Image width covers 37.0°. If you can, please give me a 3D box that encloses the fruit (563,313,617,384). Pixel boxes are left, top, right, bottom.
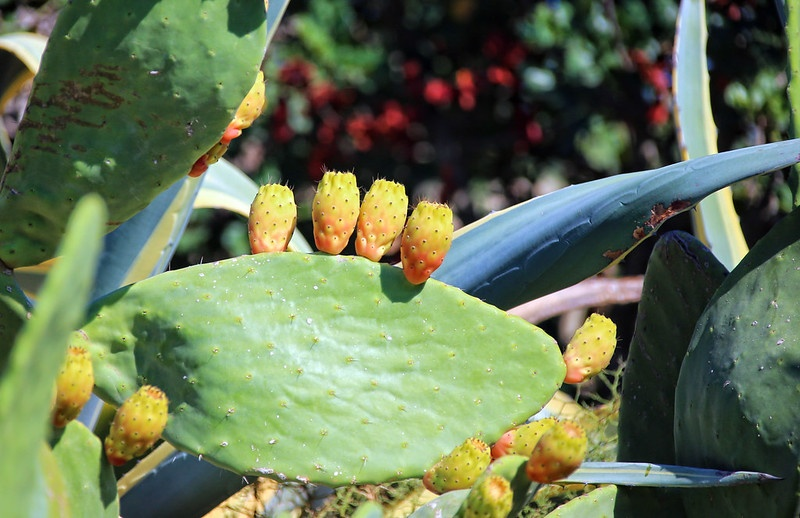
[{"bbox_3d":[0.492,0.250,3.157,0.107,0.072,0.207,32,66,21],"label":"fruit"}]

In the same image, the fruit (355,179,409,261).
[{"bbox_3d":[-0.033,-0.083,3.147,0.106,0.119,0.219,17,75,2],"label":"fruit"}]

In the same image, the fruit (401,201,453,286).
[{"bbox_3d":[0.067,-0.047,3.113,0.119,0.235,0.124,5,12,-32],"label":"fruit"}]

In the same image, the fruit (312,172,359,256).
[{"bbox_3d":[-0.173,-0.110,3.122,0.106,0.217,0.110,3,-15,34],"label":"fruit"}]

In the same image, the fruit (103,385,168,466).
[{"bbox_3d":[-0.650,0.394,2.962,0.120,0.221,0.118,38,16,29],"label":"fruit"}]

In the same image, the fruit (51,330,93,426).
[{"bbox_3d":[-0.790,0.290,2.953,0.089,0.219,0.142,4,11,-8],"label":"fruit"}]

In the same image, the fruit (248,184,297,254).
[{"bbox_3d":[-0.332,-0.104,3.147,0.100,0.221,0.102,11,10,-25],"label":"fruit"}]
